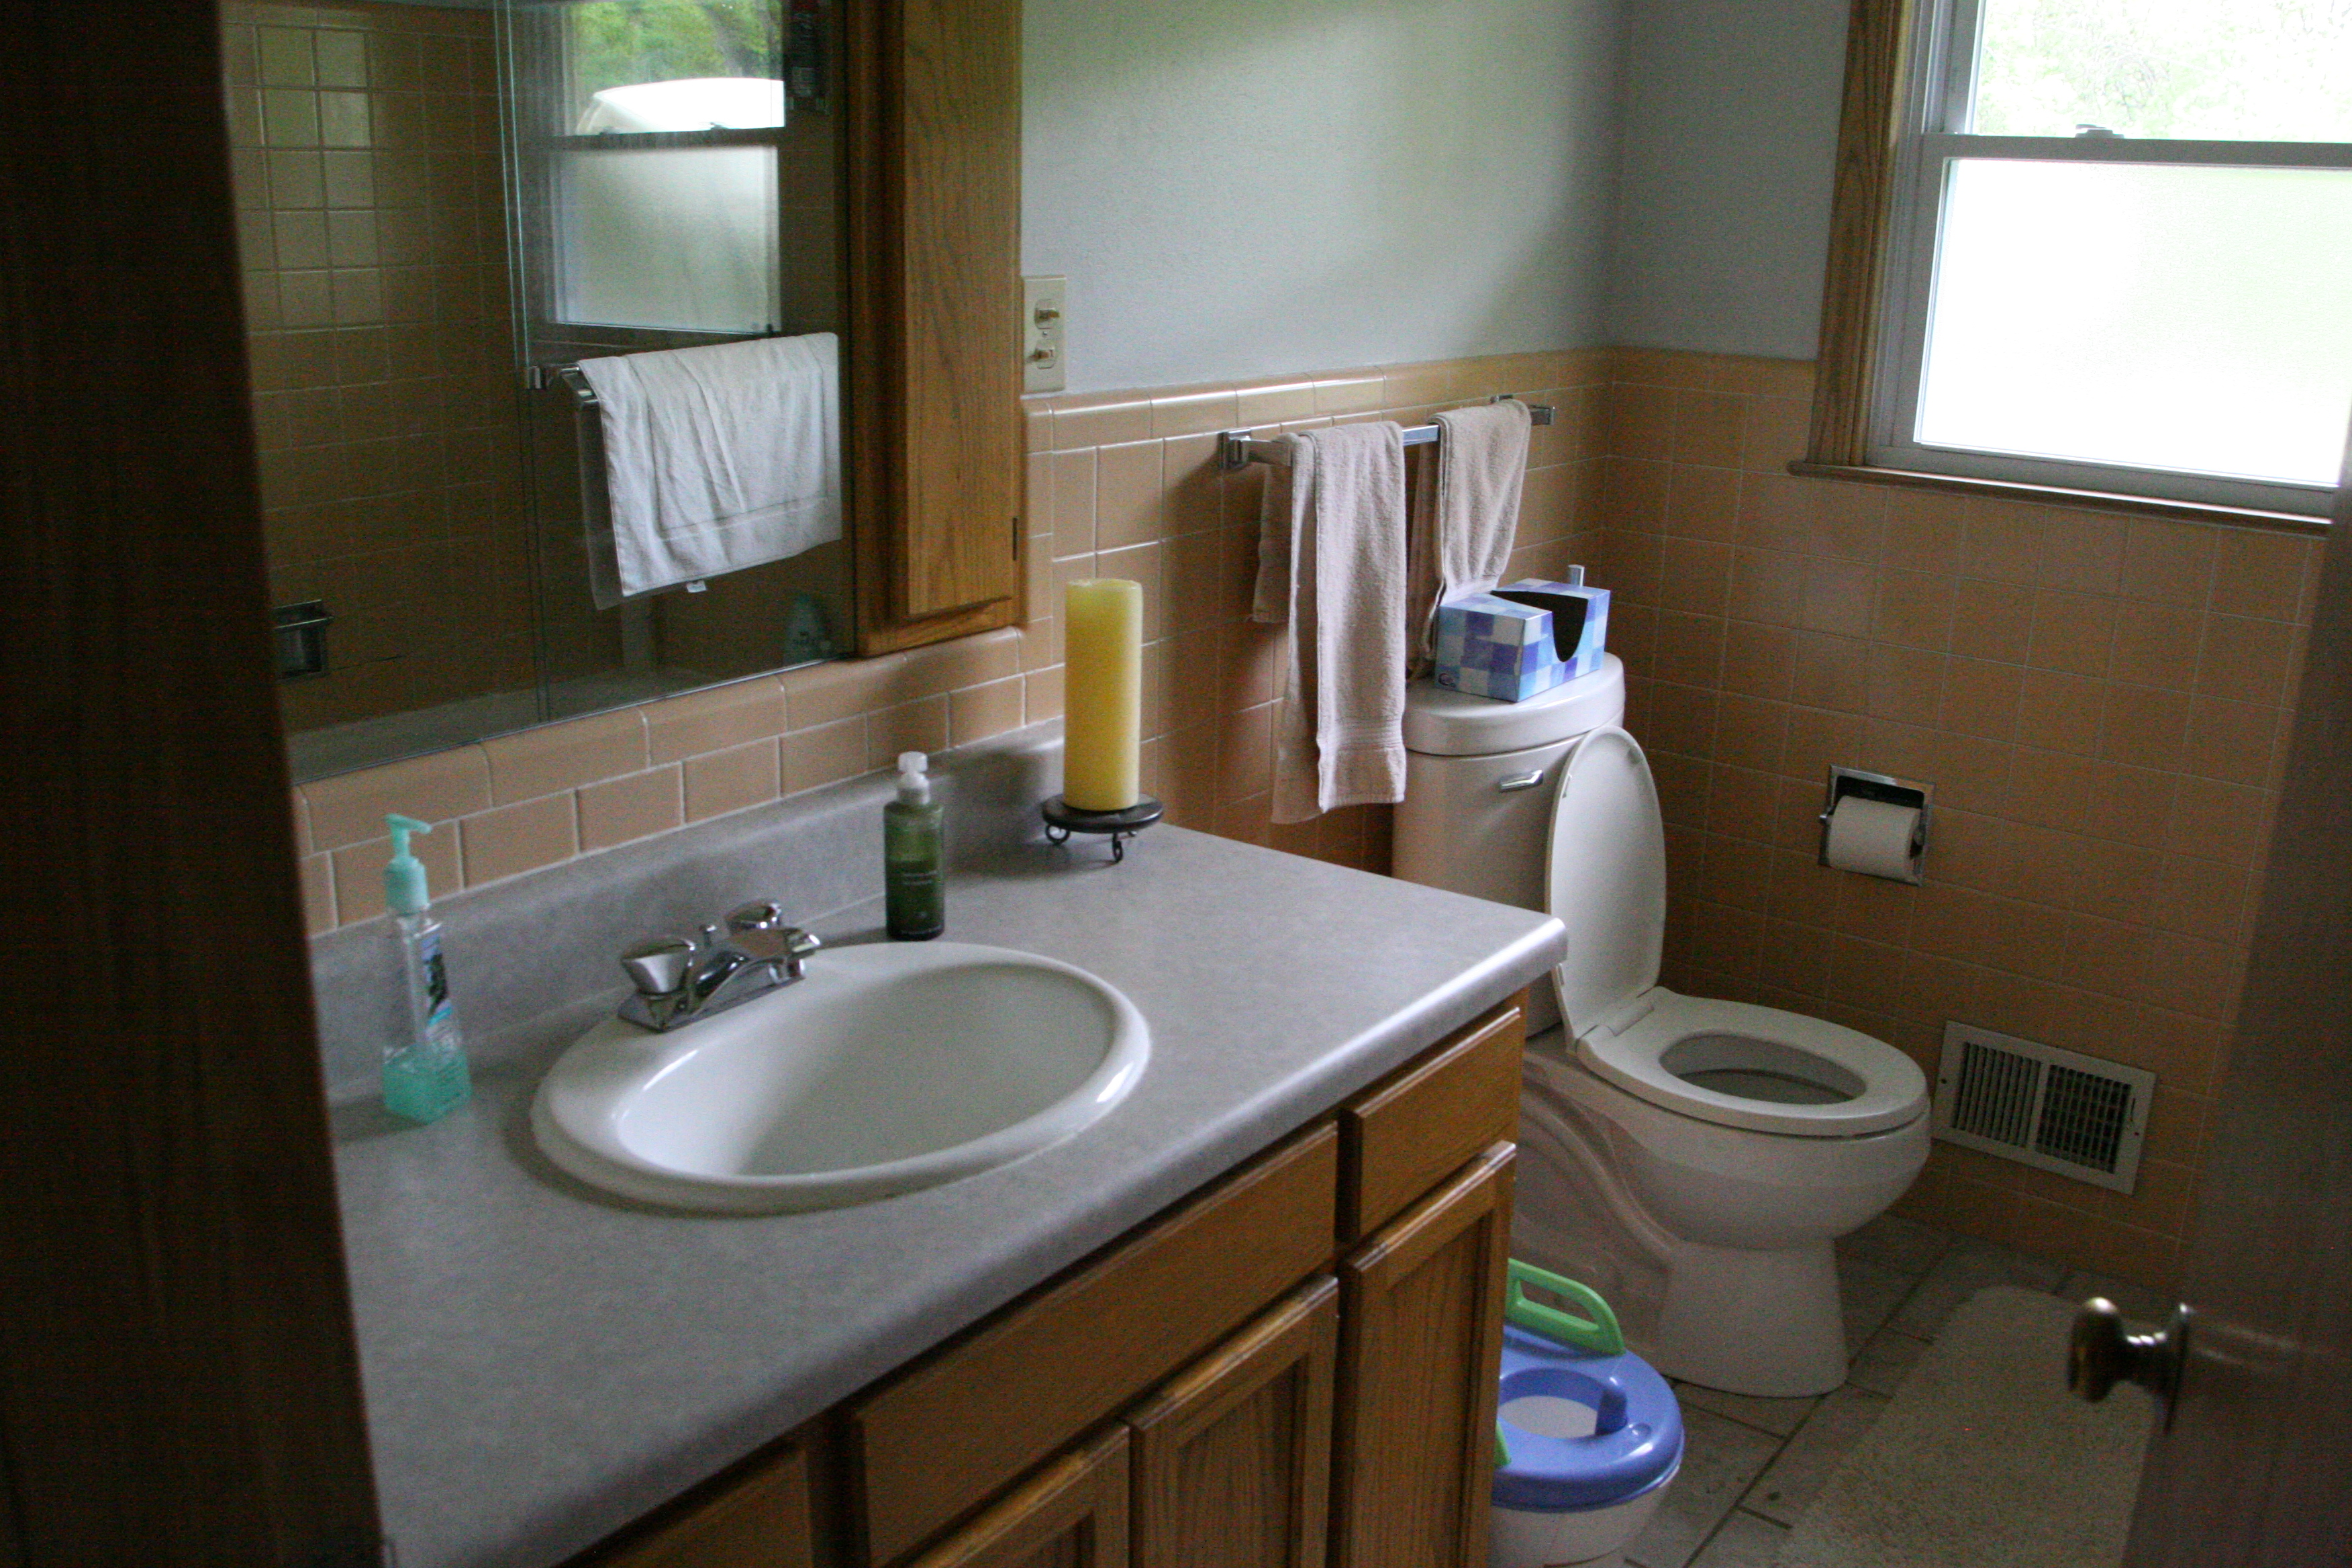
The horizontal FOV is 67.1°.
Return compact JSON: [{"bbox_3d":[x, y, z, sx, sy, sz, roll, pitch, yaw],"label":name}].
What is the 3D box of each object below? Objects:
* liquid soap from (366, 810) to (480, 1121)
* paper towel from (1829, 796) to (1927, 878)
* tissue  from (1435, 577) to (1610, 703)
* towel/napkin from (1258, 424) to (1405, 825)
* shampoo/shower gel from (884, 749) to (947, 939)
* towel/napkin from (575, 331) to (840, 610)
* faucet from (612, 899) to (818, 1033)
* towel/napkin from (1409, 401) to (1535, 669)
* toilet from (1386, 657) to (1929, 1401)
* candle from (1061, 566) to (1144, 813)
[{"bbox_3d":[-0.625,0.147,1.471,0.070,0.236,0.100,-8,23,-38],"label":"liquid soap"},{"bbox_3d":[1.154,0.083,2.984,0.157,0.134,0.127,19,35,37],"label":"paper towel"},{"bbox_3d":[0.511,-0.233,2.675,0.202,0.137,0.337,8,22,27],"label":"tissue "},{"bbox_3d":[0.219,-0.227,2.398,0.144,0.650,0.326,14,20,41],"label":"towel/napkin"},{"bbox_3d":[-0.269,0.061,1.787,0.062,0.174,0.087,-1,21,5],"label":"shampoo/shower gel"},{"bbox_3d":[-0.462,-0.341,1.836,0.046,0.226,0.348,14,28,29],"label":"towel/napkin"},{"bbox_3d":[-0.430,0.156,1.645,0.145,0.071,0.211,3,21,16],"label":"faucet"},{"bbox_3d":[0.420,-0.369,2.598,0.078,0.389,0.220,13,19,38],"label":"towel/napkin"},{"bbox_3d":[0.816,0.370,2.910,0.851,1.111,0.825,15,23,39],"label":"toilet"},{"bbox_3d":[-0.082,-0.111,2.001,0.090,0.252,0.085,19,24,30],"label":"candle"}]
